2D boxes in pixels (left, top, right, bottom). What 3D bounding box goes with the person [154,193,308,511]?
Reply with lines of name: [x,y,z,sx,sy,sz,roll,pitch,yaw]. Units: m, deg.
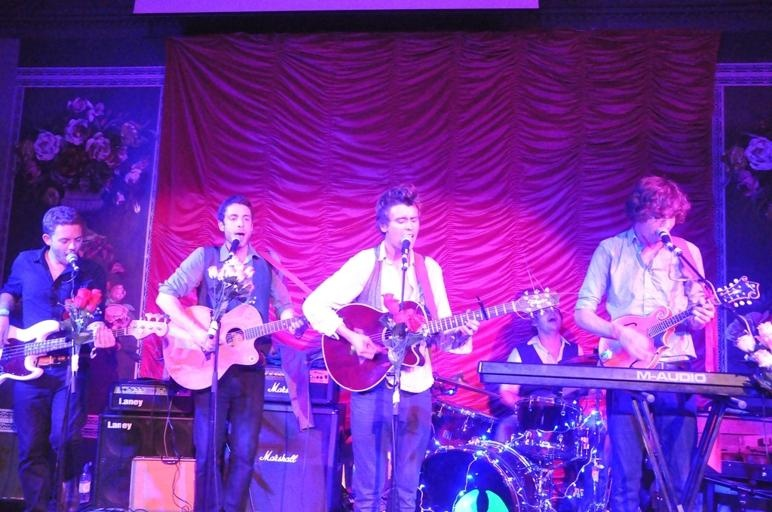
person: [-1.485,0.888,6.724,1.223,2.929,0.673,8,-13,-18]

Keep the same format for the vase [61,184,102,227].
vase: [-3.883,-0.619,9.141,0.555,0.478,0.546,3,14,-24]

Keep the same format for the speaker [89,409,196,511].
speaker: [-2.527,2.004,7.621,1.201,1.178,0.870,1,-6,-2]

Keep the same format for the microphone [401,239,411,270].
microphone: [0.163,-0.008,6.171,0.077,0.259,0.072,8,-24,-7]

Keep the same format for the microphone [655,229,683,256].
microphone: [2.474,-0.105,6.238,0.110,0.380,0.115,17,-61,-20]

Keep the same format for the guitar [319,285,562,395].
guitar: [0.350,0.677,6.257,2.270,0.877,0.262,-15,-9,13]

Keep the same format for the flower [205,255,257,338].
flower: [-1.449,0.372,6.650,0.408,0.796,0.331,6,-13,-11]

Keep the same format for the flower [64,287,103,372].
flower: [-2.917,0.736,6.861,0.299,0.825,0.790,9,-14,-23]

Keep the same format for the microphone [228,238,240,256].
microphone: [-1.417,-0.087,6.721,0.084,0.150,0.064,-11,-15,5]

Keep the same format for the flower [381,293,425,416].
flower: [0.154,0.798,6.206,0.380,0.901,0.309,2,-13,4]

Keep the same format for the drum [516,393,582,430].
drum: [1.642,1.647,7.222,0.605,0.314,0.621,11,-21,4]
